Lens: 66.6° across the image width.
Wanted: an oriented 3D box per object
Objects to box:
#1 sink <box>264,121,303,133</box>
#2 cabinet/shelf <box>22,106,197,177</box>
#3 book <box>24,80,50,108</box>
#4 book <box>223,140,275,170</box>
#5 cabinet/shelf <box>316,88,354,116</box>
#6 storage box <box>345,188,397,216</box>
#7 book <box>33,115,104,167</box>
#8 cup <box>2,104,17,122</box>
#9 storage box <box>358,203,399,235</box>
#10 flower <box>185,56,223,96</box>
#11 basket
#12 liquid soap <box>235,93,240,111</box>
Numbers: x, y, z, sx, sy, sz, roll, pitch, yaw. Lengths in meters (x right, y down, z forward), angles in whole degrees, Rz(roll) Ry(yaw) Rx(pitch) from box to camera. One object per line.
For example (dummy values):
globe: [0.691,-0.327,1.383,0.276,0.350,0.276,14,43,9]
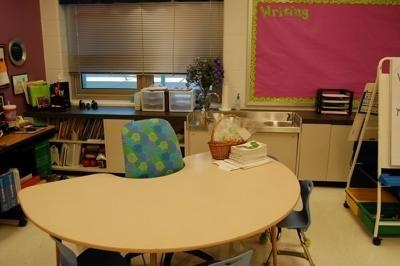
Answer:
sink: [1.246,-0.125,4.635,0.586,0.170,0.466,3,16,11]
cabinet/shelf: [-1.063,0.085,4.774,1.815,0.768,0.491,-5,15,-1]
book: [-2.625,-0.617,4.850,0.387,0.379,0.220,-8,15,-38]
book: [0.517,0.252,3.310,0.365,0.128,0.337,-8,9,-38]
cabinet/shelf: [2.124,-0.509,4.827,0.525,0.373,0.398,3,16,12]
storage box: [2.263,0.869,4.156,0.440,0.151,0.432,0,7,2]
book: [-2.080,0.119,4.835,0.782,0.667,0.264,0,7,2]
cup: [-2.708,-0.286,4.334,0.201,0.329,0.212,2,6,0]
storage box: [2.280,1.126,3.882,0.412,0.133,0.431,-2,15,3]
flower: [0.103,-1.000,4.886,0.536,0.589,0.461,4,34,4]
basket: [0.353,0.052,3.549,0.541,0.483,0.273,-4,5,-32]
liquid soap: [0.630,-0.519,5.007,0.062,0.261,0.129,1,16,5]
